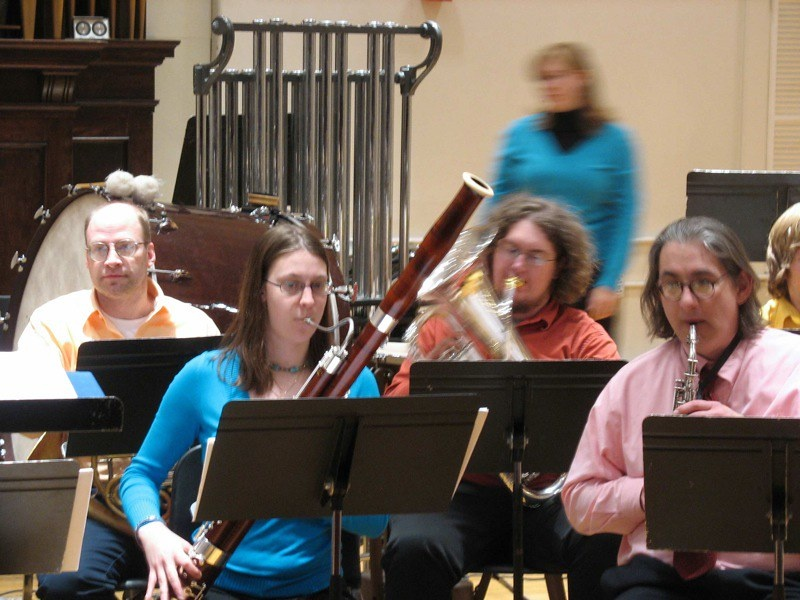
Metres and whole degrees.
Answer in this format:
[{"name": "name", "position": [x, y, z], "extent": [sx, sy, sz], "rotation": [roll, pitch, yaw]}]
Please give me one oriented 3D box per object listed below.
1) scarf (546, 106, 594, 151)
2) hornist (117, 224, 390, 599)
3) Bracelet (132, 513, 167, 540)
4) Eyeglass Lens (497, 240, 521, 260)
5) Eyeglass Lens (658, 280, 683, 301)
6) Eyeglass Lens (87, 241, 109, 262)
[{"name": "scarf", "position": [0.641, -0.649, 4.532], "extent": [0.119, 0.176, 0.042], "rotation": [1, 4, 25]}, {"name": "hornist", "position": [-0.420, 0.334, 3.405], "extent": [0.497, 1.204, 0.608], "rotation": [-1, 4, -25]}, {"name": "Bracelet", "position": [-0.687, 0.633, 3.319], "extent": [0.066, 0.067, 0.020], "rotation": [-6, 1, 0]}, {"name": "Eyeglass Lens", "position": [0.362, -0.158, 3.934], "extent": [0.050, 0.061, 0.028], "rotation": [-2, -10, 7]}, {"name": "Eyeglass Lens", "position": [0.769, -0.024, 3.378], "extent": [0.046, 0.055, 0.030], "rotation": [0, 6, 22]}, {"name": "Eyeglass Lens", "position": [-1.062, -0.166, 4.231], "extent": [0.066, 0.070, 0.030], "rotation": [0, -5, 13]}]
